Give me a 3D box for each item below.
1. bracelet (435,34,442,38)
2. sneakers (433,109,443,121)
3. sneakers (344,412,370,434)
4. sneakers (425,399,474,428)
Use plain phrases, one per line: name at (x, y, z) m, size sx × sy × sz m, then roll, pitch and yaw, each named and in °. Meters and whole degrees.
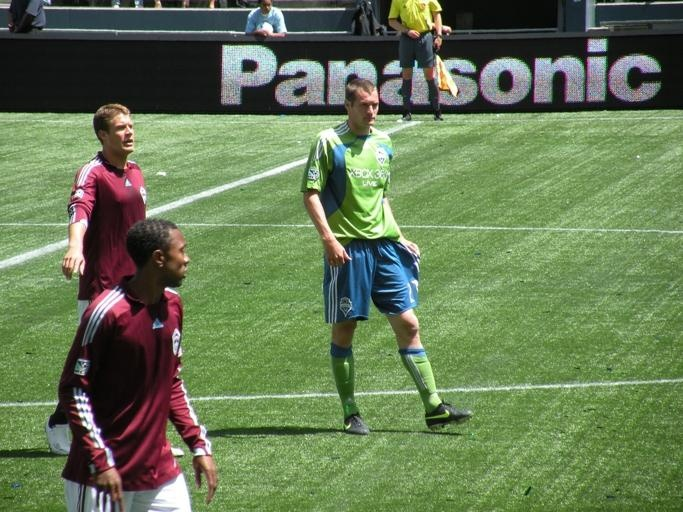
bracelet at (1.512, -3.444, 20.072) m, size 0.086 × 0.032 × 0.118 m, roll -2°, pitch -1°, yaw 10°
sneakers at (1.567, -2.329, 20.812) m, size 0.155 × 0.171 × 0.254 m, roll -3°, pitch 15°, yaw 5°
sneakers at (0.134, 1.433, 10.913) m, size 0.123 × 0.101 × 0.235 m, roll -2°, pitch -3°, yaw -21°
sneakers at (0.880, 1.345, 10.986) m, size 0.486 × 0.232 × 0.168 m, roll -13°, pitch 7°, yaw -2°
